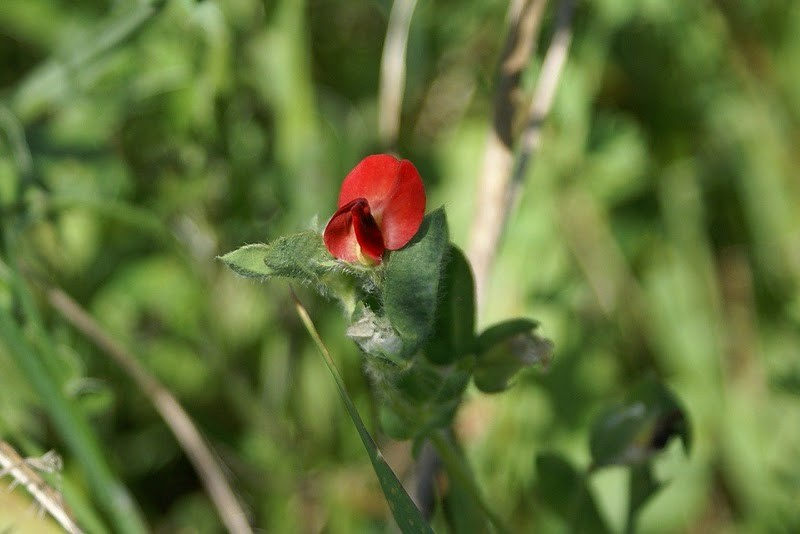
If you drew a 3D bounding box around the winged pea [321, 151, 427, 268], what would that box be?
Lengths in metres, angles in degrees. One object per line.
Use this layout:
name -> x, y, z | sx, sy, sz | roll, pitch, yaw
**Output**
winged pea -> -0.019, -0.045, 0.681 | 0.072, 0.056, 0.065 | 0, 44, -2
